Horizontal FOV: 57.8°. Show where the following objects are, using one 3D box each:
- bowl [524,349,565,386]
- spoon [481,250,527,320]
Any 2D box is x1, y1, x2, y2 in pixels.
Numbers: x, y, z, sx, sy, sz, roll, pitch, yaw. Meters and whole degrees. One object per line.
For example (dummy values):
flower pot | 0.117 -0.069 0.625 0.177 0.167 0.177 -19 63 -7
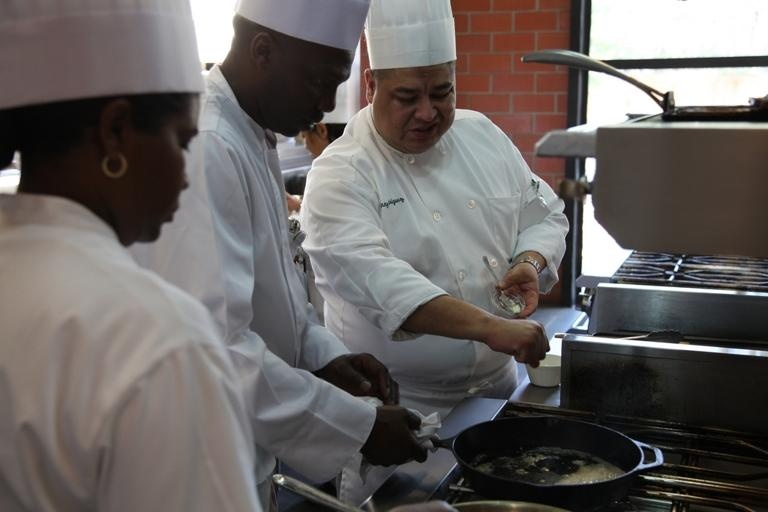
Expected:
bowl | 0.426 0.299 1.786 0.076 0.050 0.079 -6 14 2
spoon | 0.326 0.097 1.943 0.068 0.183 0.098 -26 -26 24
